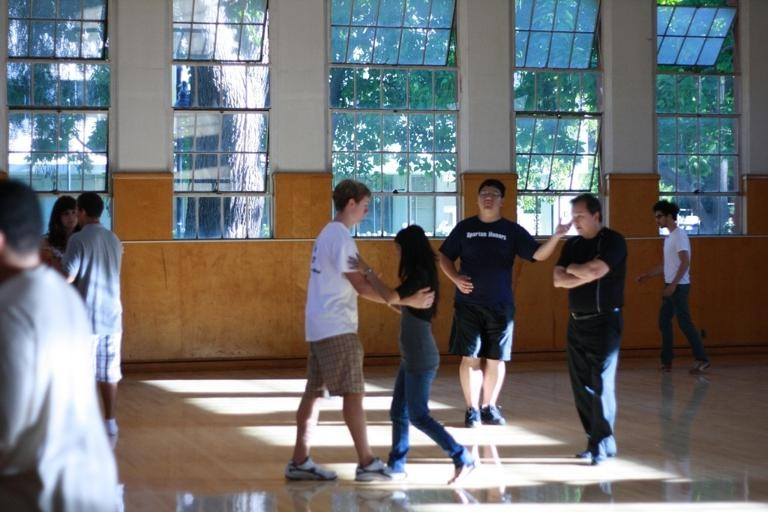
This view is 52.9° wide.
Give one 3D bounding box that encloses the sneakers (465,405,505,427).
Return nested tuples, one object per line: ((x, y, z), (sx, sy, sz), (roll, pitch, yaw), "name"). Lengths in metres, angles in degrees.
((0.976, 1.578, 7.565), (0.327, 0.131, 0.184), (-1, 0, -12), "sneakers")

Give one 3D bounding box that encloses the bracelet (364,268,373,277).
((-0.125, 0.125, 6.197), (0.059, 0.044, 0.058), (-3, 4, -42), "bracelet")

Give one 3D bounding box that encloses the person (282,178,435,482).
((-0.362, 0.594, 6.280), (0.931, 2.418, 0.539), (-1, 6, -8), "person")

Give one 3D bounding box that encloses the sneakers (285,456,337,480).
((-0.618, 1.751, 6.346), (0.492, 0.215, 0.164), (2, -9, -2), "sneakers")

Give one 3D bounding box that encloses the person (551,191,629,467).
((1.768, 0.593, 6.685), (0.542, 2.250, 0.513), (4, 7, 41), "person")

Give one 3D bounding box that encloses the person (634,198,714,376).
((3.744, 0.365, 9.869), (0.770, 2.148, 1.030), (2, 6, 22), "person")

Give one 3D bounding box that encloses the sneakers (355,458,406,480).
((-0.037, 1.740, 6.301), (0.448, 0.193, 0.164), (0, -7, -6), "sneakers")
